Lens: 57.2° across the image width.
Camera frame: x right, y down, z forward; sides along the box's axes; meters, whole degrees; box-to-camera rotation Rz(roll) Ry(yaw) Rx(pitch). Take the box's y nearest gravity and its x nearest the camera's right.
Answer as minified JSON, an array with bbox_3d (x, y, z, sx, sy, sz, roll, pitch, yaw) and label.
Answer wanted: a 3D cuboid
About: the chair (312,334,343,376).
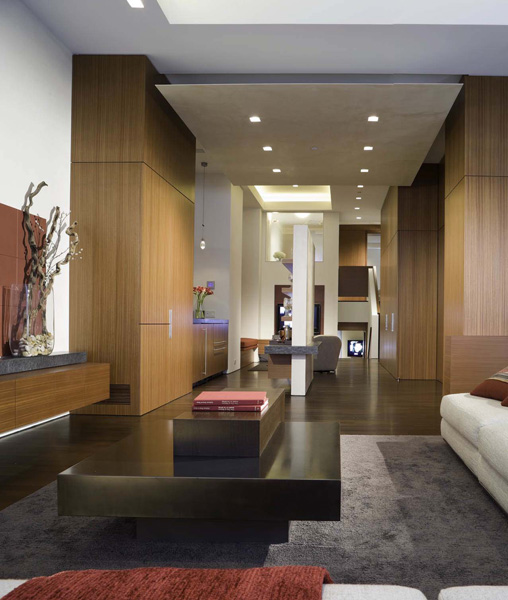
[{"bbox_3d":[1.540,1.100,10.031,0.601,0.864,0.705,3,5,-14],"label":"chair"}]

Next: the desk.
[{"bbox_3d":[-0.166,0.807,2.250,1.135,0.586,1.098,0,-3,9],"label":"desk"}]

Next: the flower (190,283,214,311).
[{"bbox_3d":[-0.965,-0.065,8.352,0.396,0.476,0.436,-1,-1,7],"label":"flower"}]

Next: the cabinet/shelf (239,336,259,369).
[{"bbox_3d":[-0.130,1.261,11.106,0.479,0.494,0.914,-1,1,2],"label":"cabinet/shelf"}]

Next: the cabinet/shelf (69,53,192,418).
[{"bbox_3d":[-1.284,-0.691,5.424,0.741,3.878,1.649,-2,-4,31],"label":"cabinet/shelf"}]

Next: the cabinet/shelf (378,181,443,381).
[{"bbox_3d":[3.153,-0.403,9.451,0.775,3.877,1.686,0,-4,5],"label":"cabinet/shelf"}]

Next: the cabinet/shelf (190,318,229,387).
[{"bbox_3d":[-0.768,0.831,8.081,0.745,0.938,1.357,0,1,5],"label":"cabinet/shelf"}]
